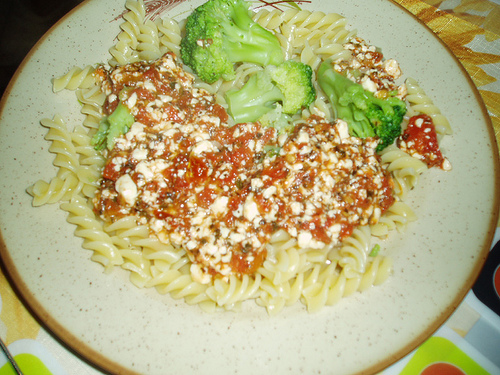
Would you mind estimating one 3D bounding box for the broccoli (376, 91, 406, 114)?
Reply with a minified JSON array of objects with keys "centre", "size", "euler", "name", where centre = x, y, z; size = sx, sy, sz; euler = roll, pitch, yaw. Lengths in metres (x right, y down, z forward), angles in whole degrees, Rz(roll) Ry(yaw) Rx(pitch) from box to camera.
[{"centre":[1.940,-1.142,6.947],"size":[0.276,0.285,0.089],"euler":[9,61,40],"name":"broccoli"}]
